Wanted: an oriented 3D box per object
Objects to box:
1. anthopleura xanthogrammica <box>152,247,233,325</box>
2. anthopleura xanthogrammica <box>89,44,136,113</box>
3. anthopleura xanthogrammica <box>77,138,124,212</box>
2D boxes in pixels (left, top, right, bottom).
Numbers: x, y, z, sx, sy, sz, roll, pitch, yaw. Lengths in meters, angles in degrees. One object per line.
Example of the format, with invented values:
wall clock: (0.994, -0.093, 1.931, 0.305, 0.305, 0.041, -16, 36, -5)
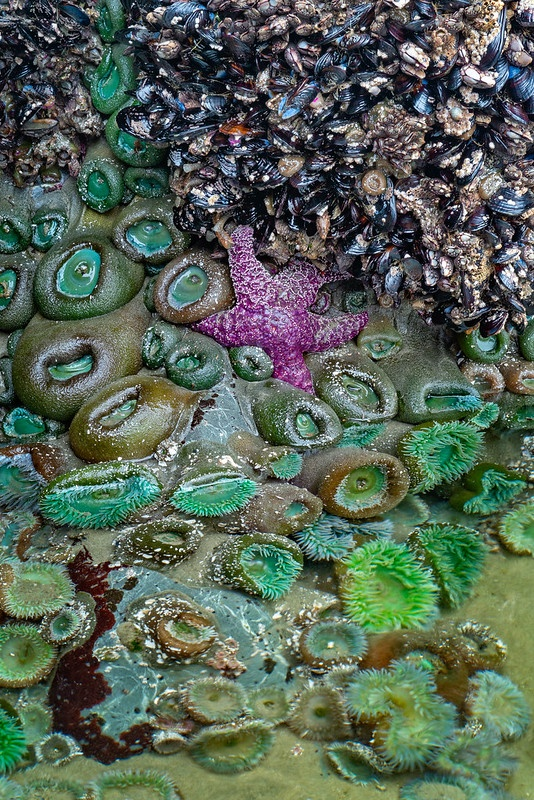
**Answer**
anthopleura xanthogrammica: (-0.343, -0.538, 4.063, 0.381, 0.155, 0.361, 31, 86, 11)
anthopleura xanthogrammica: (-0.753, -1.549, 3.976, 0.228, 0.106, 0.273, 45, 117, 21)
anthopleura xanthogrammica: (-0.840, -1.090, 4.078, 0.236, 0.168, 0.358, -14, 99, 11)
